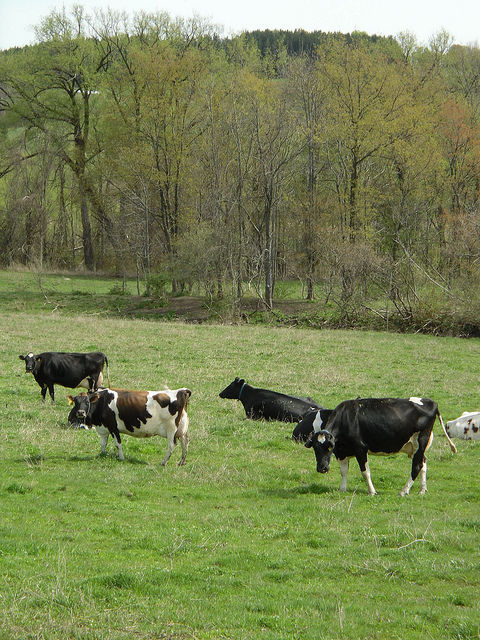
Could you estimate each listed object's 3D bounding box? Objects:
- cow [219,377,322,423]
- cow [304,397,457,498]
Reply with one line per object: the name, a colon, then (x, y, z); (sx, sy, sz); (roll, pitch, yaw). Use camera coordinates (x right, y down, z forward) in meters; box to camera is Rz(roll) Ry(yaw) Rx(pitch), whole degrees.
cow: (0.847, 2.236, 37.509); (2.699, 0.987, 0.631); (6, 10, 26)
cow: (3.367, 3.044, 32.030); (2.929, 2.245, 0.840); (0, 8, -7)
